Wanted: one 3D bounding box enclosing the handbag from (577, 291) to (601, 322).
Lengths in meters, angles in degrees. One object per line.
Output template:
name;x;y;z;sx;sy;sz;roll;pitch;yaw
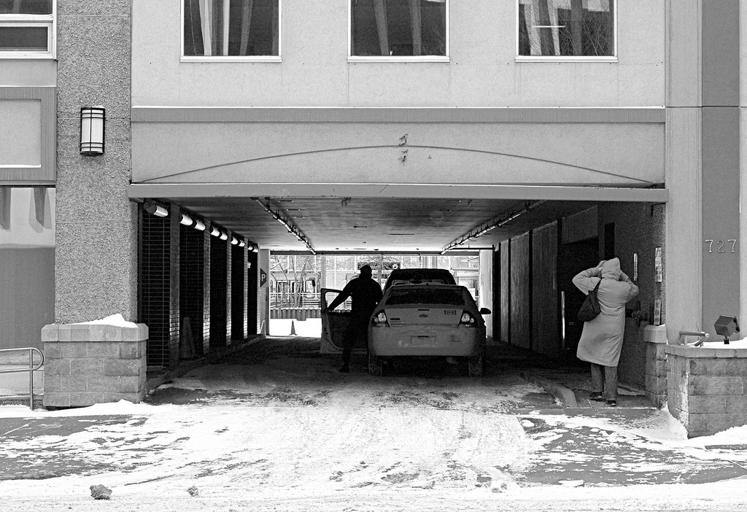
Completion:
handbag;3.621;0.886;19.326;0.353;0.561;0.225;4;11;24

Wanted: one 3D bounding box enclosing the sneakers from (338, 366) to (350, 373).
sneakers;-0.614;2.297;23.166;0.094;0.161;0.268;1;6;-14

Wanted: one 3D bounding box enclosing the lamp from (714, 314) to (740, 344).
lamp;5.700;1.192;18.538;0.295;0.400;0.314;13;-19;13

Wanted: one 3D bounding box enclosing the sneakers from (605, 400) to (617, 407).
sneakers;3.927;2.460;19.061;0.101;0.079;0.213;0;1;5

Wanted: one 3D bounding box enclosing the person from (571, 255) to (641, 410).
person;3.839;1.247;19.375;0.905;2.322;0.869;7;13;36

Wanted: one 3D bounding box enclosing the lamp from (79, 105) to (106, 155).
lamp;-4.799;-2.104;19.579;0.469;0.825;0.314;-3;11;-13
